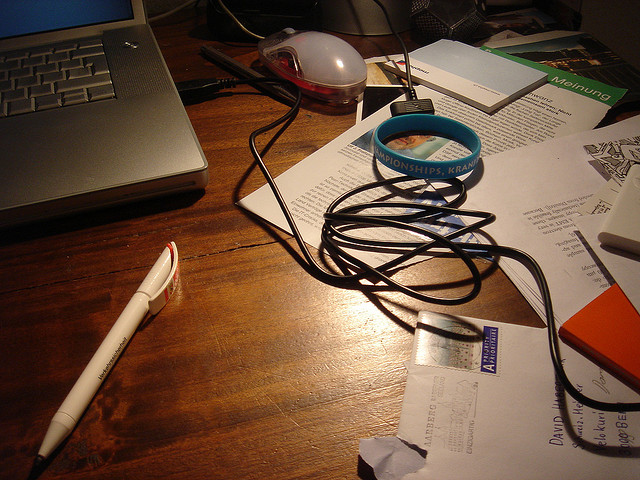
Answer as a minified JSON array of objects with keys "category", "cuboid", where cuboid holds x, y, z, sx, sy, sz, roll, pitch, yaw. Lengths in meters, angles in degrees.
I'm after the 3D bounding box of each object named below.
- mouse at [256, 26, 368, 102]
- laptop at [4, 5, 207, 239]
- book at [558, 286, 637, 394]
[{"category":"mouse","cuboid":[-0.011,-0.281,0.818,0.120,0.071,0.196,-29,50,-28]},{"category":"laptop","cuboid":[-0.293,-0.163,0.673,0.229,0.060,0.307,-15,64,-16]},{"category":"book","cuboid":[0.291,0.091,0.521,0.087,0.015,0.081,-36,71,-24]}]
